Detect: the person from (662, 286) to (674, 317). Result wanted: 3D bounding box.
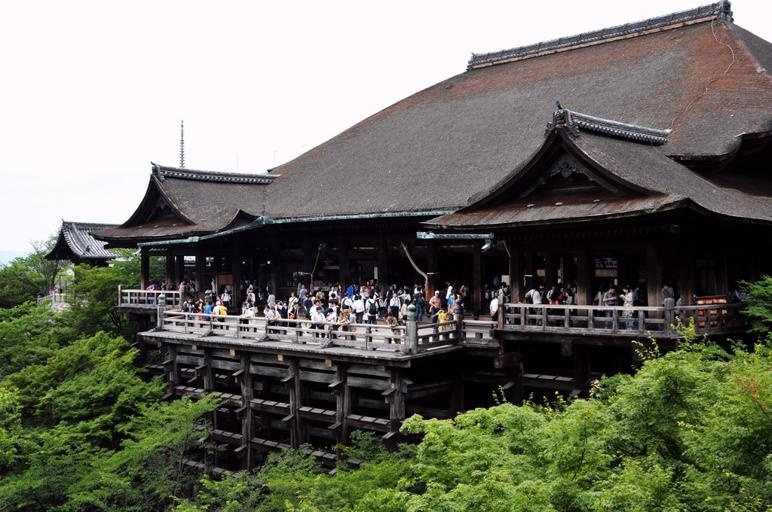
[{"bbox_3d":[9.934,1.578,25.439,0.344,1.197,1.709,-4,-9,20],"label":"person"}]
